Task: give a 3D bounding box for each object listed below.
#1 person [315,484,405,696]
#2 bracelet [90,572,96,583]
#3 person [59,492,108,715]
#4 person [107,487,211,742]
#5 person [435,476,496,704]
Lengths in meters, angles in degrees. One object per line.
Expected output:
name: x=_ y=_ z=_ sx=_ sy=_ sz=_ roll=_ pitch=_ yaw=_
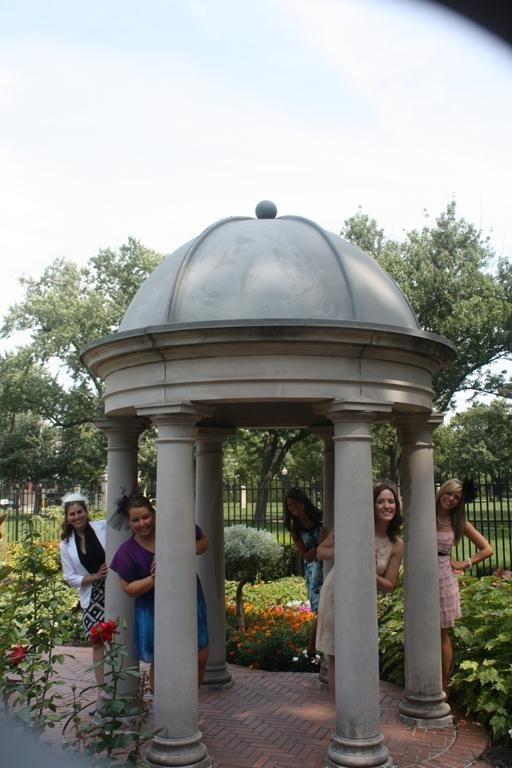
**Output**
person: x=0.823 y=1.731 z=5.271 sx=0.764 sy=1.827 sz=1.258 roll=-4 pitch=-7 yaw=12
bracelet: x=-1.421 y=1.701 z=5.754 sx=0.021 sy=0.063 sz=0.065 roll=6 pitch=0 yaw=-13
person: x=-1.506 y=1.879 z=5.756 sx=0.380 sy=1.817 sz=0.636 roll=0 pitch=-7 yaw=-16
person: x=-0.729 y=1.627 z=5.073 sx=0.706 sy=1.563 sz=0.951 roll=1 pitch=-8 yaw=-25
person: x=1.852 y=1.781 z=5.880 sx=0.434 sy=1.852 sz=0.712 roll=-6 pitch=-8 yaw=24
